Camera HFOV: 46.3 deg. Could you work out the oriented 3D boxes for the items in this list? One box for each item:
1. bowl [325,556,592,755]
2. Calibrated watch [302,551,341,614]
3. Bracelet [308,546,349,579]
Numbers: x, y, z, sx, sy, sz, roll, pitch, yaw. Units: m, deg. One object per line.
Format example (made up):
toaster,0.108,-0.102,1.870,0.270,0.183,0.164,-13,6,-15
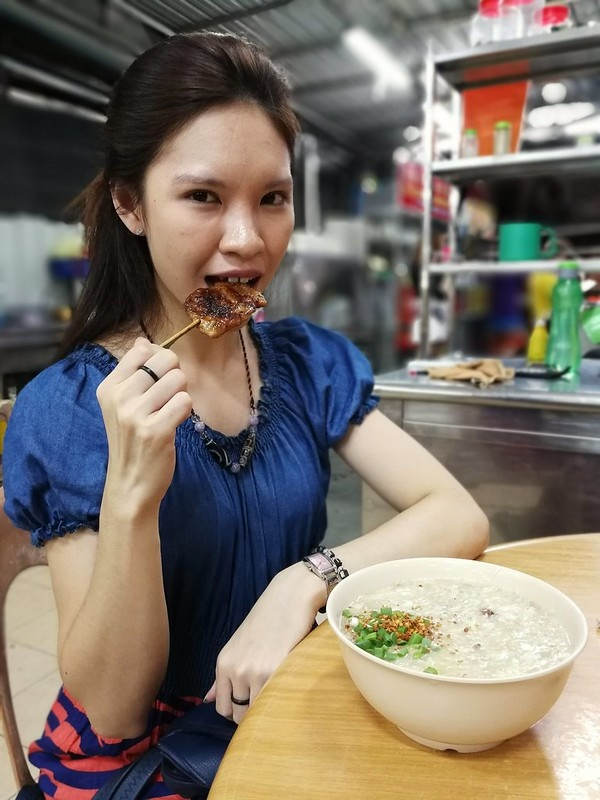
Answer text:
bowl,0.176,0.294,0.819,0.290,0.142,0.303,-4,12,1
Calibrated watch,0.039,0.301,1.163,0.086,0.084,0.102,2,-2,-8
Bracelet,0.049,0.276,1.184,0.034,0.053,0.053,-40,34,-25
